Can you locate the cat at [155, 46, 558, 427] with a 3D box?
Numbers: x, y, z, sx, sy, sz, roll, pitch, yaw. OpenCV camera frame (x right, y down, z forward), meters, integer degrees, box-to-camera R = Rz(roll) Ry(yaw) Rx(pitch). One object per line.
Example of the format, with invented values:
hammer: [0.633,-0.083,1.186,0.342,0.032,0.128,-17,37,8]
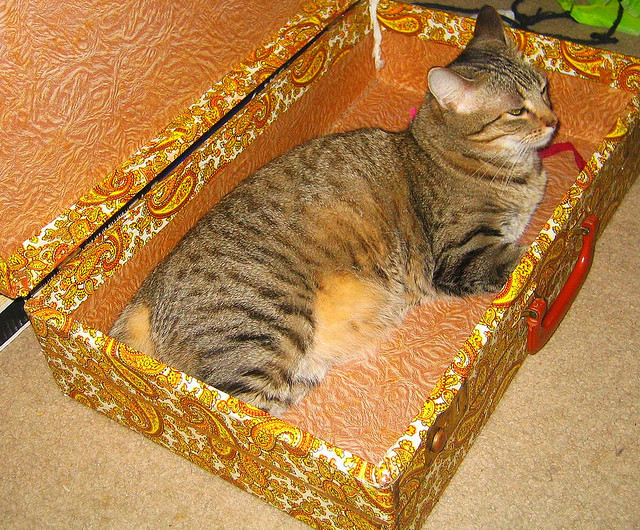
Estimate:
cat: [0.147,0.004,1.720,0.962,0.506,0.511,-37,61,-17]
